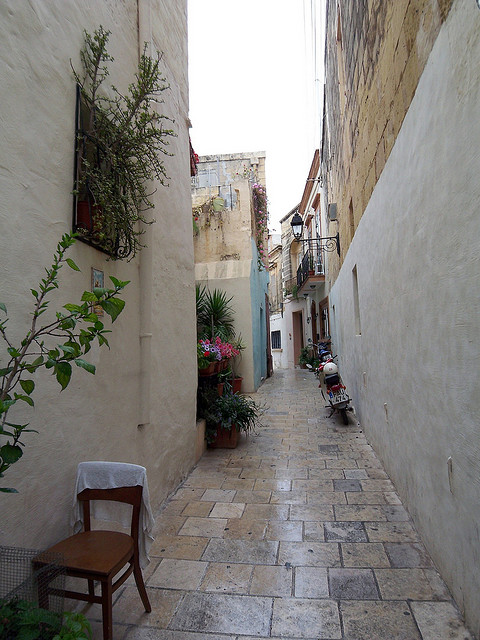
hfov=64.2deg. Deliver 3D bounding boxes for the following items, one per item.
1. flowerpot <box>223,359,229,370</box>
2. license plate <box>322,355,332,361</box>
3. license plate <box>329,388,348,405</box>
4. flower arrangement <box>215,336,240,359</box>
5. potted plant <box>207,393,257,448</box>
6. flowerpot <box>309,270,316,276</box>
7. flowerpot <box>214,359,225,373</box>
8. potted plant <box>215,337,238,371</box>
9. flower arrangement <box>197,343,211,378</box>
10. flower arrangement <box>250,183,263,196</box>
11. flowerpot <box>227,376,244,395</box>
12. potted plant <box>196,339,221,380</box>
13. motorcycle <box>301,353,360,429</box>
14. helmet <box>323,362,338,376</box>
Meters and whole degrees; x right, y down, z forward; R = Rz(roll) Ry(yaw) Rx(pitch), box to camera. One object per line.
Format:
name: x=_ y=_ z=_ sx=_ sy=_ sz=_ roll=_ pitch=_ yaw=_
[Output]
flowerpot: x=-0.244 y=0.746 z=6.416 sx=0.116 sy=0.181 sz=0.254 roll=7 pitch=-22 yaw=-1
license plate: x=1.741 y=0.746 z=7.608 sx=0.195 sy=0.097 sz=0.156 roll=-14 pitch=-17 yaw=29
license plate: x=1.575 y=1.211 z=6.065 sx=0.253 sy=0.237 sz=0.337 roll=-3 pitch=-5 yaw=9
flower arrangement: x=-0.245 y=0.445 z=6.131 sx=0.249 sy=0.349 sz=0.907 roll=-3 pitch=-5 yaw=15
potted plant: x=-0.209 y=1.367 z=5.222 sx=0.710 sy=0.656 sz=0.792 roll=10 pitch=-2 yaw=-22
flowerpot: x=2.557 y=-1.672 z=13.446 sx=0.156 sy=0.246 sz=0.148 roll=0 pitch=1 yaw=6
flowerpot: x=-0.325 y=0.710 z=5.818 sx=0.109 sy=0.176 sz=0.166 roll=-1 pitch=5 yaw=13
potted plant: x=-0.211 y=0.509 z=6.049 sx=0.328 sy=0.663 sz=0.443 roll=4 pitch=-3 yaw=-4
flower arrangement: x=-0.500 y=0.554 z=5.315 sx=0.179 sy=0.439 sz=0.415 roll=-1 pitch=-4 yaw=-5
flower arrangement: x=0.478 y=-3.742 z=10.710 sx=0.234 sy=0.318 sz=0.290 roll=-8 pitch=-30 yaw=2
flowerpot: x=-0.104 y=1.445 z=8.609 sx=0.274 sy=0.338 sz=0.350 roll=0 pitch=-4 yaw=-1
potted plant: x=-0.390 y=0.553 z=5.627 sx=0.231 sy=0.551 sz=0.744 roll=2 pitch=-4 yaw=21
motorcycle: x=1.601 y=1.050 z=6.694 sx=0.469 sy=1.145 sz=1.595 roll=-15 pitch=11 yaw=5
helmet: x=1.519 y=0.813 z=6.349 sx=0.126 sy=0.249 sz=0.217 roll=-2 pitch=-14 yaw=-4
